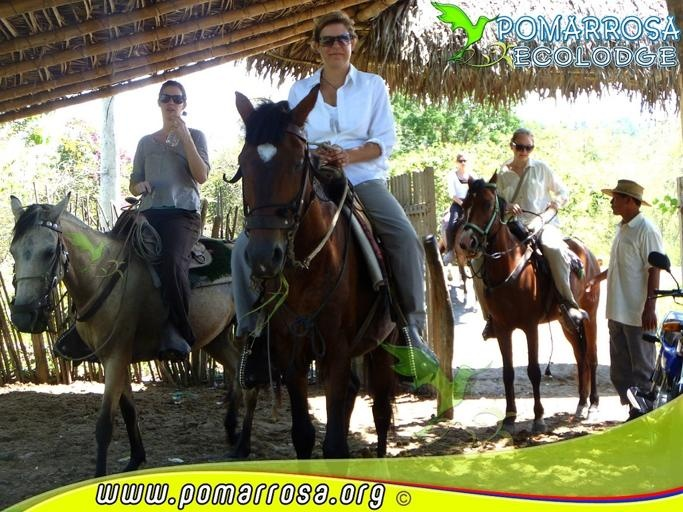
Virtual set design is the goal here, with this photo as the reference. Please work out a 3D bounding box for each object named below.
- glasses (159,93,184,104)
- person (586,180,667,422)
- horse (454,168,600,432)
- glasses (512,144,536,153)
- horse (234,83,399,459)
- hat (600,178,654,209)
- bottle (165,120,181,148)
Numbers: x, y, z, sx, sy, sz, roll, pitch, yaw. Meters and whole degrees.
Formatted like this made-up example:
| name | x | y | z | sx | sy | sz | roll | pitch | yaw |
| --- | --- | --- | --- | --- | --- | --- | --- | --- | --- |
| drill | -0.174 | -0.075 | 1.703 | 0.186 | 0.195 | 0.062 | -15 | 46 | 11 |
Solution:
| name | x | y | z | sx | sy | sz | roll | pitch | yaw |
| --- | --- | --- | --- | --- | --- | --- | --- | --- | --- |
| glasses | -1.860 | -1.721 | 6.364 | 0.270 | 0.116 | 0.075 | -2 | -9 | -20 |
| person | 3.812 | 0.480 | 7.685 | 0.538 | 2.954 | 0.909 | -2 | -9 | -13 |
| horse | 2.844 | 0.764 | 8.348 | 3.824 | 3.223 | 0.953 | 11 | -14 | -42 |
| glasses | 2.584 | -1.546 | 8.251 | 0.312 | 0.154 | 0.180 | -6 | -9 | 5 |
| horse | 0.021 | 0.530 | 5.170 | 0.833 | 2.827 | 3.597 | -2 | -13 | 18 |
| hat | 3.805 | -0.758 | 7.701 | 0.481 | 0.180 | 0.442 | 24 | 3 | 2 |
| bottle | -1.847 | -1.344 | 6.350 | 0.088 | 0.094 | 0.272 | -15 | 33 | 22 |
